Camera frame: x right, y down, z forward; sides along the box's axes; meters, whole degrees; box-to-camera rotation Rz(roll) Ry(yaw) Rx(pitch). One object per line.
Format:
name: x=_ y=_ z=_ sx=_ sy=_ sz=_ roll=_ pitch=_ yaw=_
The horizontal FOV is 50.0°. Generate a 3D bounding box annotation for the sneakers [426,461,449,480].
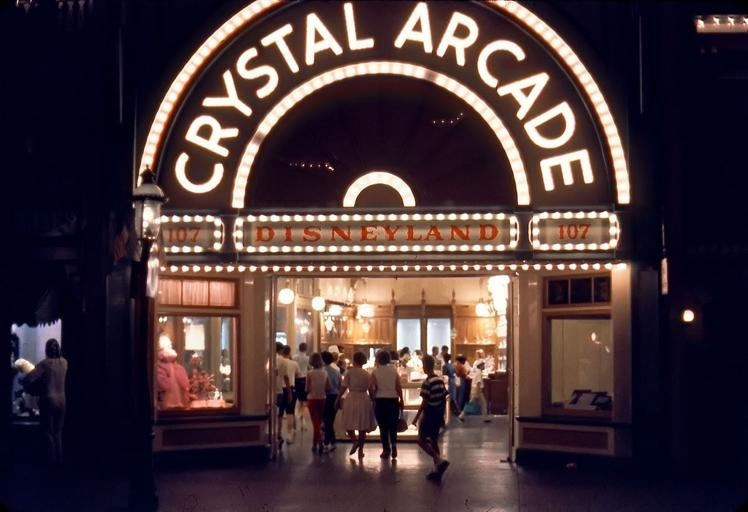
sneakers: x=1.201 y=4.095 z=15.271 sx=0.203 sy=0.264 sz=0.591 roll=0 pitch=6 yaw=15

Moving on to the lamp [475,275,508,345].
lamp: x=3.930 y=1.893 z=26.753 sx=0.911 sy=3.179 sz=2.508 roll=0 pitch=-6 yaw=4

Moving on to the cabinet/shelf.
cabinet/shelf: x=0.643 y=3.897 z=20.888 sx=1.910 sy=1.398 sz=1.115 roll=-1 pitch=-12 yaw=2

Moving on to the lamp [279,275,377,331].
lamp: x=-1.480 y=1.686 z=27.917 sx=1.022 sy=2.390 sz=5.792 roll=-2 pitch=-8 yaw=23

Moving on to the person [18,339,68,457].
person: x=-6.656 y=3.005 z=16.342 sx=0.805 sy=2.568 sz=0.929 roll=-1 pitch=1 yaw=28

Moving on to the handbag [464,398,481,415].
handbag: x=3.129 y=4.843 z=25.600 sx=0.588 sy=0.682 sz=0.399 roll=5 pitch=-5 yaw=0
